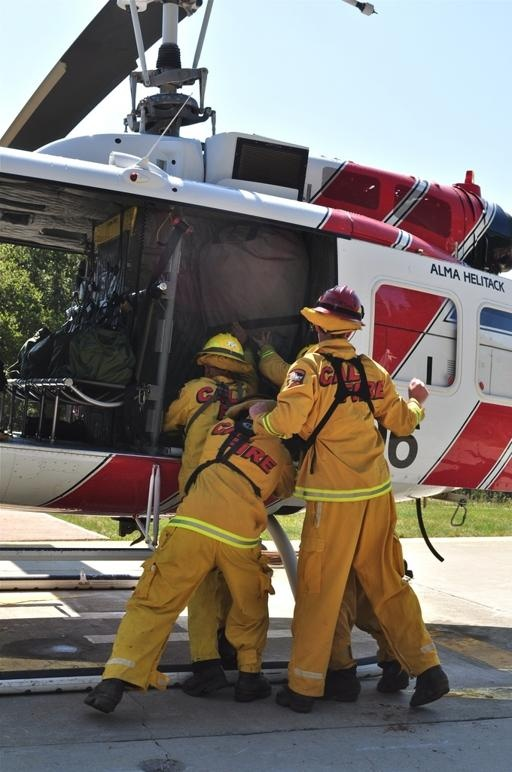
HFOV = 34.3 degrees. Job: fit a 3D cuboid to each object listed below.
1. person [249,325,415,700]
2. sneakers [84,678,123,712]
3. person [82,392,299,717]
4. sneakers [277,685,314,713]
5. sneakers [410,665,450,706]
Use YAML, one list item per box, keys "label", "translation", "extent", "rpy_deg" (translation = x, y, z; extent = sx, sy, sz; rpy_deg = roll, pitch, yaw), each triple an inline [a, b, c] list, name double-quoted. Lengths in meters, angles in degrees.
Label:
- label: "person"
  translation: [0.442, 0.575, 4.221]
  extent: [0.606, 1.796, 0.666]
  rpy_deg: [3, -6, -35]
- label: "sneakers"
  translation: [-0.591, 1.215, 3.257]
  extent: [0.148, 0.136, 0.097]
  rpy_deg: [8, -1, -9]
- label: "person"
  translation: [-0.240, 0.759, 3.620]
  extent: [0.395, 1.309, 1.010]
  rpy_deg: [9, -1, 39]
- label: "sneakers"
  translation: [0.175, 1.362, 3.623]
  extent: [0.084, 0.097, 0.156]
  rpy_deg: [13, 5, -11]
- label: "sneakers"
  translation: [0.761, 1.323, 3.621]
  extent: [0.076, 0.180, 0.164]
  rpy_deg: [10, -2, -31]
